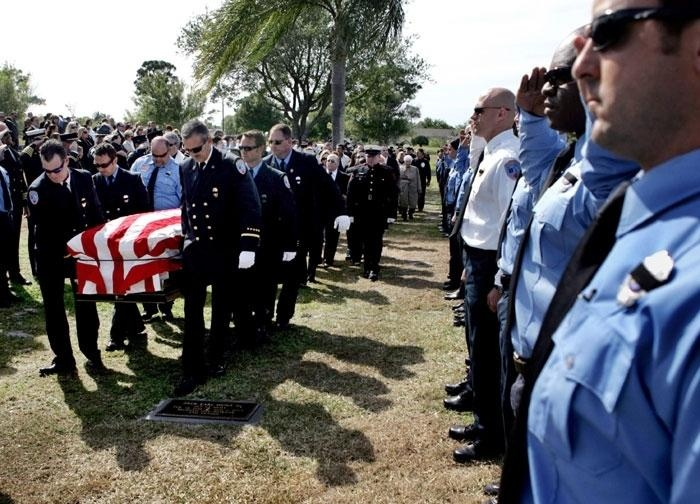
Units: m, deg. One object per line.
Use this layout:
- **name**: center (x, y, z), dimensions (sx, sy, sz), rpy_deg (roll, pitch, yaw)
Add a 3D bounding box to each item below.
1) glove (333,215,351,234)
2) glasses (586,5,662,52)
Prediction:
- **glove**: center (-0.079, -0.337, 7.607), dimensions (0.174, 0.082, 0.235), rpy_deg (6, 18, 24)
- **glasses**: center (0.654, -0.529, 1.486), dimensions (0.161, 0.100, 0.034), rpy_deg (5, 13, 20)
